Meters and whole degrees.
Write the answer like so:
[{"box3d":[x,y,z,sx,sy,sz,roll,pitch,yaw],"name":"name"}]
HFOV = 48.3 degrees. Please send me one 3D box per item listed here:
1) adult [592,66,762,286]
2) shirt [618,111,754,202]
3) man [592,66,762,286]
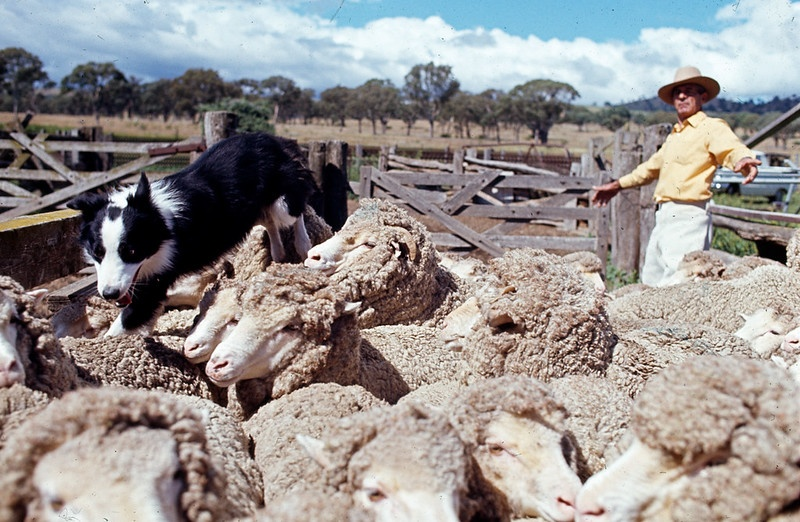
[{"box3d":[3.285,-0.870,10.695,0.793,3.079,1.936,19,-20,-28],"name":"adult"},{"box3d":[3.269,-1.284,10.462,0.447,0.893,1.503,6,-8,-22],"name":"shirt"},{"box3d":[3.285,-0.870,10.695,0.793,3.079,1.936,19,-20,-28],"name":"man"}]
